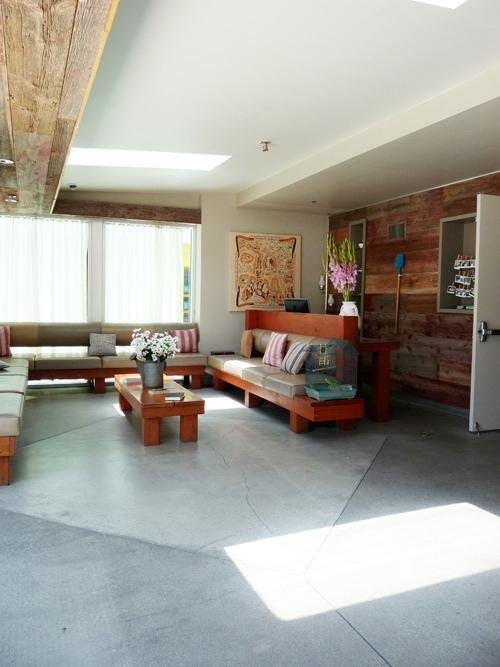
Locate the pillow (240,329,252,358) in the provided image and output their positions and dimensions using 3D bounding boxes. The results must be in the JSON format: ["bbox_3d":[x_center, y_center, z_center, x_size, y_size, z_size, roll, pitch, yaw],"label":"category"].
[{"bbox_3d":[-0.044,0.143,6.426,0.109,0.345,0.368,4,-3,-12],"label":"pillow"}]

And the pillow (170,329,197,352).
[{"bbox_3d":[-0.865,0.101,6.290,0.287,0.278,0.101,2,-19,-28],"label":"pillow"}]

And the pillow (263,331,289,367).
[{"bbox_3d":[0.307,0.182,5.511,0.151,0.277,0.398,1,2,-15],"label":"pillow"}]

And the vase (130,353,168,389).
[{"bbox_3d":[-0.926,0.371,4.423,0.352,0.302,0.222,2,0,-14],"label":"vase"}]

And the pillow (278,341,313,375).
[{"bbox_3d":[0.470,0.252,4.899,0.102,0.298,0.310,23,0,-15],"label":"pillow"}]

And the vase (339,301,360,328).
[{"bbox_3d":[1.037,-0.206,4.979,0.249,0.321,0.328,3,3,14],"label":"vase"}]

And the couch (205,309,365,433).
[{"bbox_3d":[0.323,0.294,5.273,0.891,1.115,2.811,0,2,-19],"label":"couch"}]

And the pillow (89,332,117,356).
[{"bbox_3d":[-1.920,0.145,6.273,0.345,0.278,0.529,0,2,-18],"label":"pillow"}]

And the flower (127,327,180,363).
[{"bbox_3d":[-0.894,0.132,4.525,0.541,0.379,0.549,3,3,2],"label":"flower"}]
